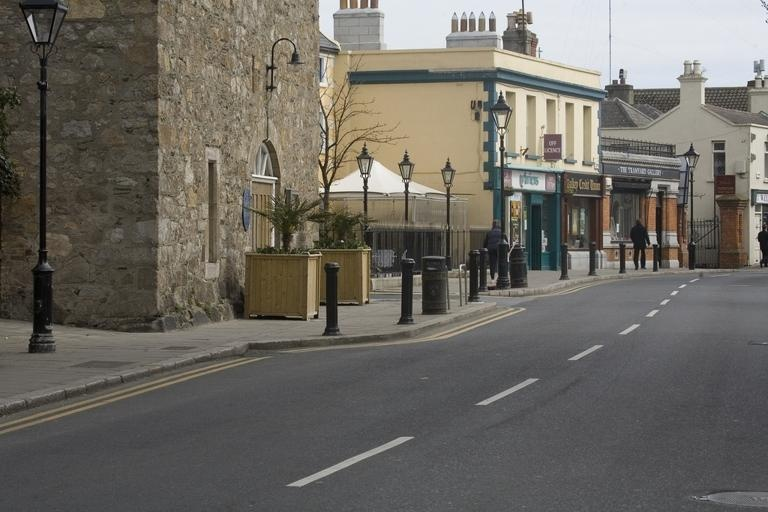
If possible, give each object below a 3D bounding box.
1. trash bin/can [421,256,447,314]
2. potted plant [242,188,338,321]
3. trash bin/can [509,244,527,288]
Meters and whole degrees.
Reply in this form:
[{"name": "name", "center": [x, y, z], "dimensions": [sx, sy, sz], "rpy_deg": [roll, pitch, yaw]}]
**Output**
[{"name": "trash bin/can", "center": [1.170, 0.652, 25.126], "dimensions": [0.559, 1.317, 0.853], "rpy_deg": [0, -2, 3]}, {"name": "potted plant", "center": [-2.299, -0.093, 24.719], "dimensions": [1.851, 2.822, 1.934], "rpy_deg": [2, 6, 32]}, {"name": "trash bin/can", "center": [4.199, 0.311, 33.731], "dimensions": [0.615, 1.311, 0.588], "rpy_deg": [-6, -5, 42]}]
